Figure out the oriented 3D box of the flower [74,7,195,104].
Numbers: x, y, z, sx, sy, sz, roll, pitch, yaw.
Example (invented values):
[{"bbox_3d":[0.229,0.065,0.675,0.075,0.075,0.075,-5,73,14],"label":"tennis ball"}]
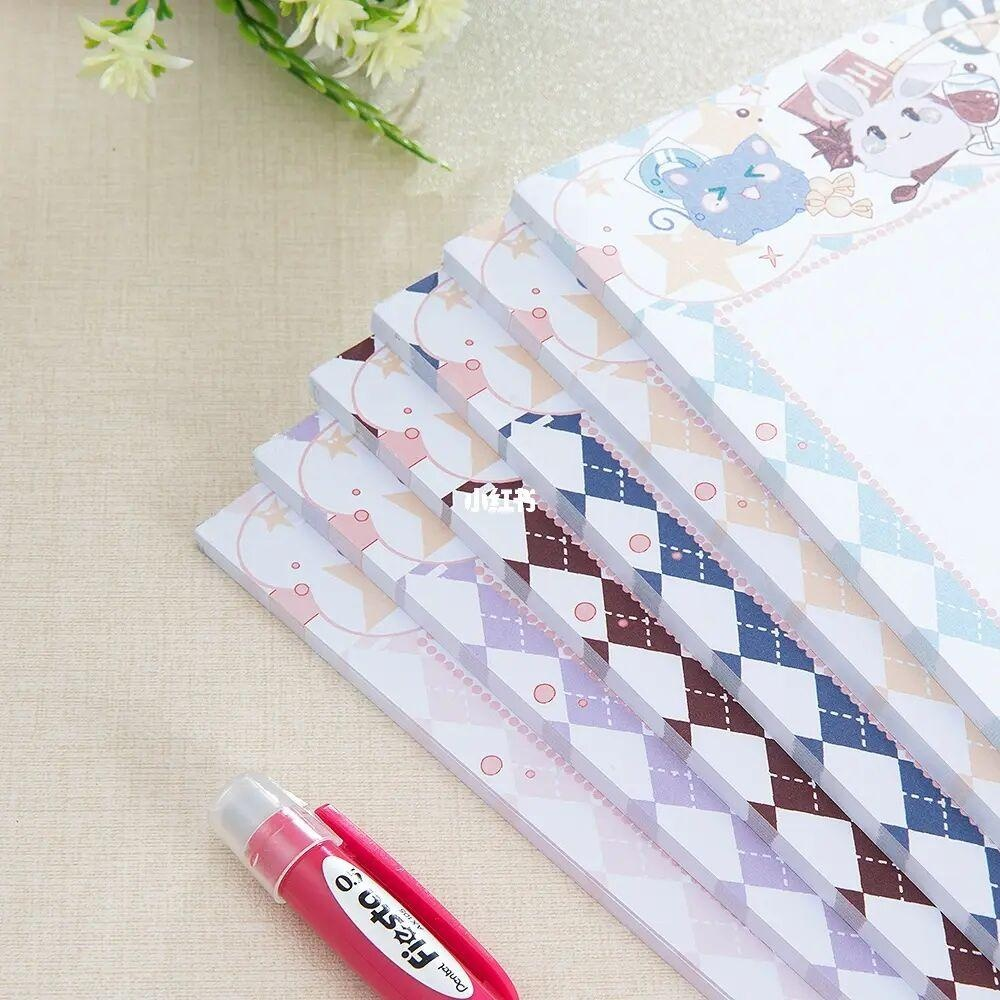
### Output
[{"bbox_3d":[-0.266,-0.330,1.087,0.071,0.075,0.122,-1,44,-13],"label":"flower"}]
